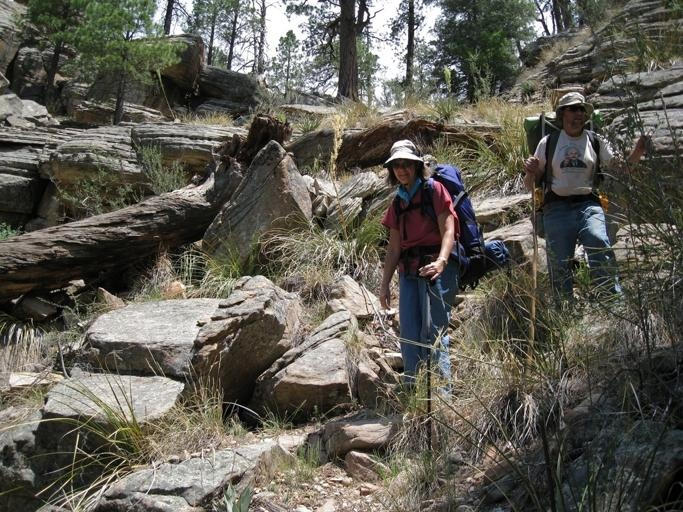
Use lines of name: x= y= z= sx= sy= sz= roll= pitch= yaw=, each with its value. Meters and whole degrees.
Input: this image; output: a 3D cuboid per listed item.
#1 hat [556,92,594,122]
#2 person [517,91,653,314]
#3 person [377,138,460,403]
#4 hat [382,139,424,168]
hat: x=2.184 y=-1.458 z=4.581 sx=0.279 sy=0.177 sz=0.320 roll=5 pitch=-26 yaw=16
person: x=2.026 y=-0.584 z=4.269 sx=0.713 sy=1.863 sz=1.478 roll=2 pitch=3 yaw=25
person: x=0.636 y=0.029 z=4.190 sx=0.765 sy=2.142 sz=0.774 roll=2 pitch=3 yaw=25
hat: x=0.558 y=-0.895 z=4.402 sx=0.259 sy=0.168 sz=0.296 roll=-7 pitch=1 yaw=-8
